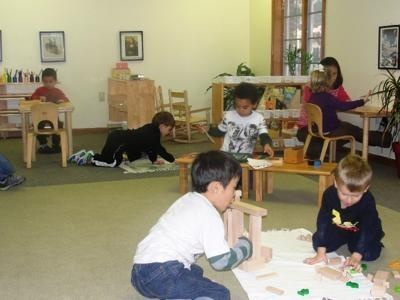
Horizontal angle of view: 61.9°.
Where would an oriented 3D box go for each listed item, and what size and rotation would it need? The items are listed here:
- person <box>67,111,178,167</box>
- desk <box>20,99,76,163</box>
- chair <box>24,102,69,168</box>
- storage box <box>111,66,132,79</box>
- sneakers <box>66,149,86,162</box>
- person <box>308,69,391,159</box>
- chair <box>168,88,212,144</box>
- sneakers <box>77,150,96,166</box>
[{"bbox_3d":[-1.175,-0.135,5.202,1.718,0.822,0.671,-2,6,-9],"label":"person"},{"bbox_3d":[-2.574,-0.307,5.545,0.902,1.107,0.878,-2,23,-11],"label":"desk"},{"bbox_3d":[-2.478,-0.264,5.415,0.791,0.942,0.772,-4,3,-31],"label":"chair"},{"bbox_3d":[-1.791,-1.729,7.459,0.361,0.265,0.536,-6,12,-24],"label":"storage box"},{"bbox_3d":[-2.012,0.097,5.308,0.308,0.120,0.171,-31,-2,15],"label":"sneakers"},{"bbox_3d":[1.870,-0.571,4.534,1.201,1.320,0.803,-11,16,-16],"label":"person"},{"bbox_3d":[-0.300,-0.807,6.724,0.601,0.783,0.641,-6,19,-15],"label":"chair"},{"bbox_3d":[-1.795,0.113,5.265,0.166,0.117,0.296,14,32,0],"label":"sneakers"}]
